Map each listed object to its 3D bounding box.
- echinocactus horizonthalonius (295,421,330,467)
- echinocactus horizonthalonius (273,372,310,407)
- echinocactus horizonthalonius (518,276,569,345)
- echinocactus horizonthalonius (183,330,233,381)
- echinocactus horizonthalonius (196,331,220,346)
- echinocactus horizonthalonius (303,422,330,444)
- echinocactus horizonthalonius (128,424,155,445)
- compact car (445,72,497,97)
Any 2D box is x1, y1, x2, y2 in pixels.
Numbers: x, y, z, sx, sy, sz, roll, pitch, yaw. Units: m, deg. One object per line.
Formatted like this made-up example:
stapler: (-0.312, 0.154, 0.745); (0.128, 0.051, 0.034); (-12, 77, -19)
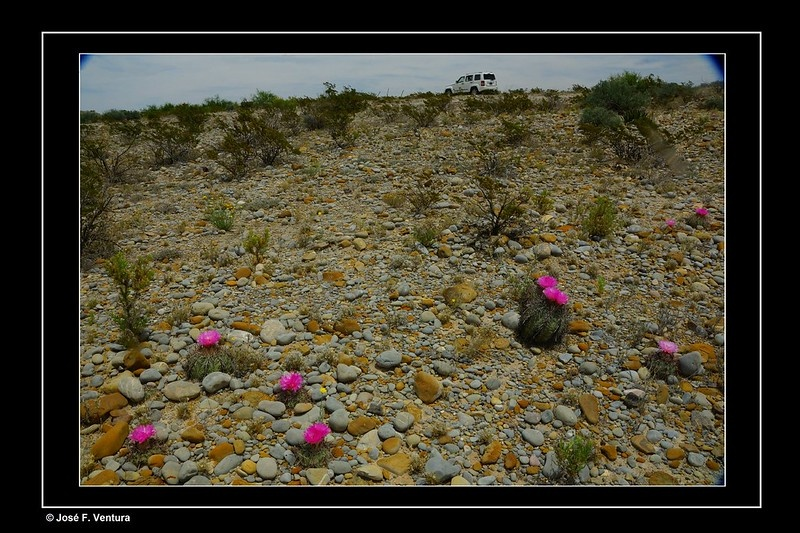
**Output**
echinocactus horizonthalonius: (-0.866, 1.780, 4.986); (0.230, 0.286, 0.243); (28, 39, 24)
echinocactus horizonthalonius: (-1.146, 1.308, 5.442); (0.371, 0.348, 0.398); (18, -12, -8)
echinocactus horizonthalonius: (1.699, 0.602, 5.942); (0.502, 0.719, 0.526); (14, 14, -17)
echinocactus horizonthalonius: (-2.086, 0.992, 5.753); (0.530, 0.585, 0.518); (2, 0, 8)
echinocactus horizonthalonius: (-2.113, 0.800, 5.573); (0.178, 0.103, 0.181); (2, 10, 5)
echinocactus horizonthalonius: (-0.825, 1.634, 4.985); (0.213, 0.167, 0.218); (-3, 16, -3)
echinocactus horizonthalonius: (-2.548, 1.641, 4.972); (0.213, 0.124, 0.202); (-7, 17, -27)
compact car: (2.809, -7.173, 19.850); (1.750, 0.754, 1.265); (6, 24, 21)
